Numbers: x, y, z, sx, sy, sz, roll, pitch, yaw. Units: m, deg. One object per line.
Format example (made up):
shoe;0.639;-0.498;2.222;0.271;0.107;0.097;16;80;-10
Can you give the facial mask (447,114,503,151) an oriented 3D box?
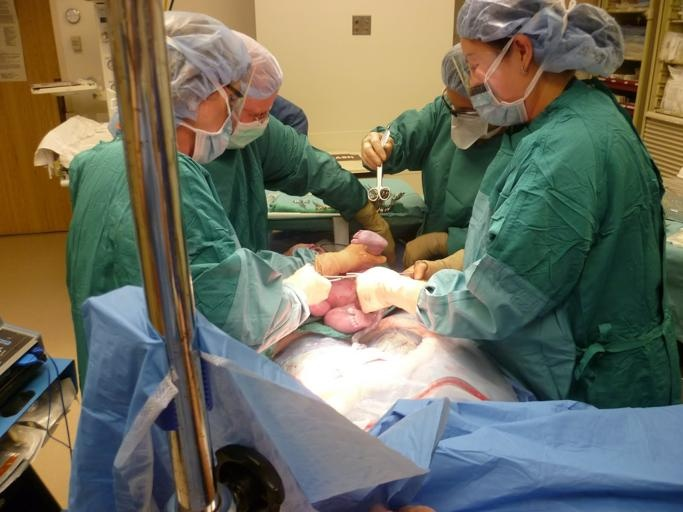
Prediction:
facial mask;0.495;-0.463;2.223;0.116;0.131;0.148;-6;19;-25

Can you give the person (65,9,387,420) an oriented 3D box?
person;-0.333;-0.171;1.674;0.898;1.001;0.604;-12;19;-28

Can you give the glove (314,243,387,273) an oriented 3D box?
glove;0.016;0.021;2.153;0.173;0.077;0.117;-5;9;-29

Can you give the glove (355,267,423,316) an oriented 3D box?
glove;0.146;0.107;1.829;0.178;0.149;0.133;19;24;40
